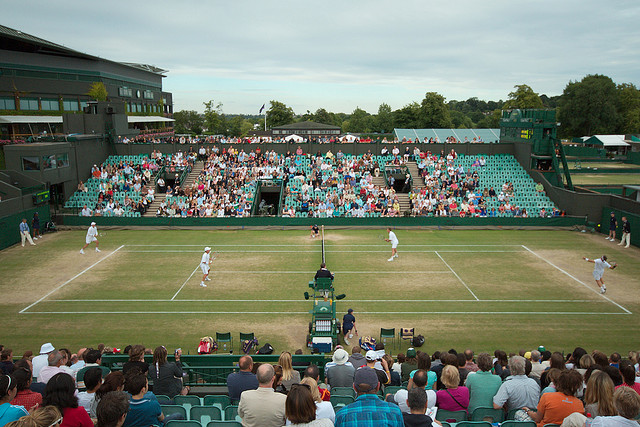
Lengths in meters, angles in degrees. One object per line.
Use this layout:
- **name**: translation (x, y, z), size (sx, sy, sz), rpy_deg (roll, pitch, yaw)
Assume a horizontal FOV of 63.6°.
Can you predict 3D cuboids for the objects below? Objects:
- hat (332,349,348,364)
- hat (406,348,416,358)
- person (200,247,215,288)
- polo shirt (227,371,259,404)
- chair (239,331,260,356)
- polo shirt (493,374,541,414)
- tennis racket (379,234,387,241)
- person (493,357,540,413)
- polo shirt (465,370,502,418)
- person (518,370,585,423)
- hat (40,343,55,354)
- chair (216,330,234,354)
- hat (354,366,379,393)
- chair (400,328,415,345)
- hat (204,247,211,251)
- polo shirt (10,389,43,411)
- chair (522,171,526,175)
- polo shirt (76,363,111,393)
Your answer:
- **hat**: translation (0.601, 4.147, 14.998), size (0.396, 0.486, 0.220), rpy_deg (-2, 14, -6)
- **hat**: translation (2.821, 4.279, 15.817), size (0.227, 0.286, 0.349), rpy_deg (6, 16, 24)
- **person**: translation (-6.131, 2.994, 28.118), size (0.844, 2.153, 0.901), rpy_deg (-1, 38, -12)
- **polo shirt**: translation (-2.211, 4.835, 14.538), size (0.846, 1.051, 0.601), rpy_deg (9, 24, -11)
- **chair**: translation (-2.864, 5.299, 20.495), size (0.685, 1.114, 0.822), rpy_deg (4, -11, -26)
- **polo shirt**: translation (5.332, 4.841, 13.858), size (1.401, 1.159, 0.653), rpy_deg (-6, 8, -14)
- **tennis racket**: translation (4.179, 1.542, 34.693), size (0.295, 0.295, 0.546), rpy_deg (-4, -5, 23)
- **person**: translation (5.279, 4.677, 13.906), size (1.266, 1.702, 0.884), rpy_deg (-1, 19, 15)
- **polo shirt**: translation (4.628, 4.888, 14.129), size (0.898, 1.205, 0.698), rpy_deg (-12, 2, 18)
- **person**: translation (5.892, 4.555, 12.674), size (1.018, 1.325, 0.386), rpy_deg (-2, 14, -6)
- **hat**: translation (-8.475, 4.249, 15.984), size (0.379, 0.204, 0.380), rpy_deg (-17, 8, -42)
- **chair**: translation (-3.935, 5.160, 21.182), size (0.604, 0.963, 0.691), rpy_deg (0, 11, -4)
- **hat**: translation (1.218, 4.275, 13.669), size (0.712, 0.542, 1.081), rpy_deg (-8, 1, 9)
- **chair**: translation (3.646, 5.101, 21.638), size (0.736, 0.727, 0.623), rpy_deg (0, -4, 2)
- **hat**: translation (-5.834, 1.851, 26.779), size (0.479, 0.144, 0.482), rpy_deg (0, 0, 1)
- **polo shirt**: translation (-7.053, 4.490, 12.343), size (0.638, 0.605, 0.333), rpy_deg (1, 1, -14)
- **chair**: translation (17.603, -3.574, 44.616), size (0.304, 0.308, 0.288), rpy_deg (1, 33, -7)
- **polo shirt**: translation (-6.043, 4.388, 13.680), size (0.715, 0.866, 0.832), rpy_deg (1, -17, 6)
